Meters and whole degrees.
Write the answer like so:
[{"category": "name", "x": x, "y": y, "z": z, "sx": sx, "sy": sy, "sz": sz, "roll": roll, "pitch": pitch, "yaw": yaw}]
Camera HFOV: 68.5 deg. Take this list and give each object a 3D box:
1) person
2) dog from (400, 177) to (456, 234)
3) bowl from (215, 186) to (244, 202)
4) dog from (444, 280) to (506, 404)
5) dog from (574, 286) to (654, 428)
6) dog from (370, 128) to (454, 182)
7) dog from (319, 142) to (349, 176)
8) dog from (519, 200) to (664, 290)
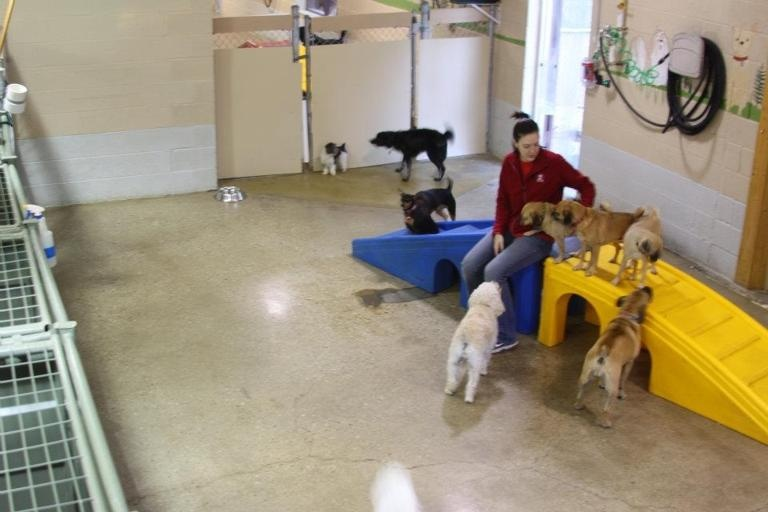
[{"category": "person", "x": 1.206, "y": -0.292, "z": 4.893, "sx": 1.330, "sy": 1.837, "sz": 0.793, "roll": -11, "pitch": 18, "yaw": -10}, {"category": "dog", "x": 0.619, "y": -0.553, "z": 6.309, "sx": 0.324, "sy": 0.564, "sz": 1.093, "roll": 8, "pitch": 22, "yaw": 30}, {"category": "bowl", "x": -2.128, "y": -0.845, "z": 7.719, "sx": 0.390, "sy": 0.159, "sz": 0.360, "roll": -3, "pitch": 21, "yaw": 1}, {"category": "dog", "x": 0.683, "y": 0.655, "z": 4.303, "sx": 0.309, "sy": 0.778, "sz": 0.535, "roll": 9, "pitch": 26, "yaw": 27}, {"category": "dog", "x": 1.746, "y": 0.775, "z": 4.179, "sx": 0.378, "sy": 0.752, "sz": 1.217, "roll": 15, "pitch": 36, "yaw": 30}, {"category": "dog", "x": 0.489, "y": -1.544, "z": 8.385, "sx": 1.326, "sy": 0.744, "sz": 0.385, "roll": 6, "pitch": 27, "yaw": 21}, {"category": "dog", "x": -0.767, "y": -1.483, "z": 8.571, "sx": 0.454, "sy": 0.510, "sz": 0.534, "roll": 10, "pitch": 34, "yaw": 12}, {"category": "dog", "x": 1.655, "y": -0.163, "z": 4.484, "sx": 1.032, "sy": 0.585, "sz": 0.340, "roll": 8, "pitch": 26, "yaw": 27}]
